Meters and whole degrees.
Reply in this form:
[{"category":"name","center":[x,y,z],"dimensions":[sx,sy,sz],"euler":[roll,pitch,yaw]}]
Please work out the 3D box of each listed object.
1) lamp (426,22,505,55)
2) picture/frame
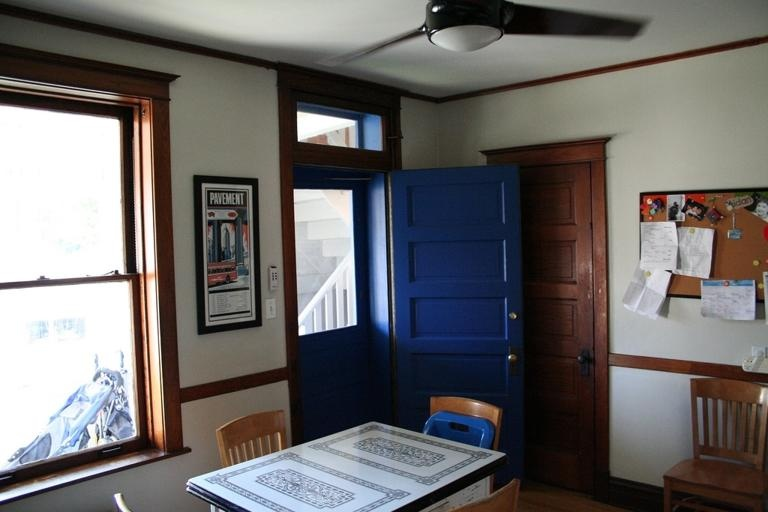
[{"category":"lamp","center":[0.440,-1.170,2.931],"dimensions":[0.330,0.097,0.258],"euler":[-10,15,-30]},{"category":"picture/frame","center":[-1.135,-0.023,3.974],"dimensions":[0.533,1.117,0.279],"euler":[-7,14,-23]}]
